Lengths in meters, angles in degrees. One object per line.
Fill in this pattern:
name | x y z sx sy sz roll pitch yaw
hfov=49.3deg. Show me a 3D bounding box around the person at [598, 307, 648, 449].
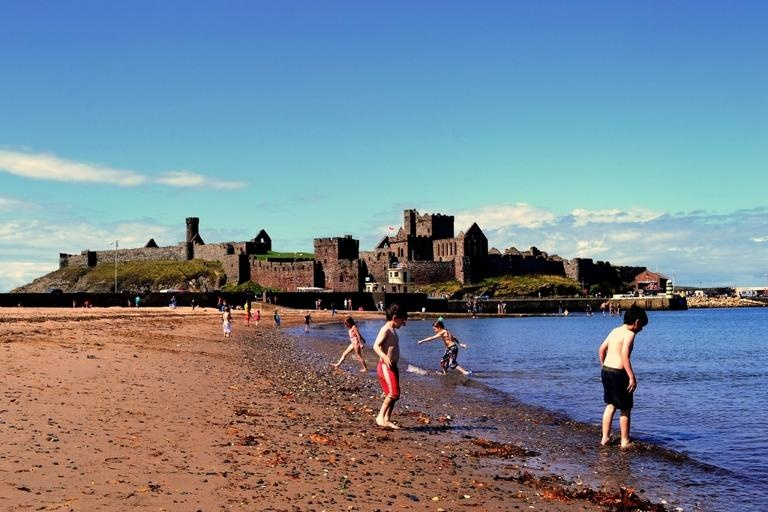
person | 5.977 3.087 21.053 1.045 3.649 1.609 -1 -3 10
